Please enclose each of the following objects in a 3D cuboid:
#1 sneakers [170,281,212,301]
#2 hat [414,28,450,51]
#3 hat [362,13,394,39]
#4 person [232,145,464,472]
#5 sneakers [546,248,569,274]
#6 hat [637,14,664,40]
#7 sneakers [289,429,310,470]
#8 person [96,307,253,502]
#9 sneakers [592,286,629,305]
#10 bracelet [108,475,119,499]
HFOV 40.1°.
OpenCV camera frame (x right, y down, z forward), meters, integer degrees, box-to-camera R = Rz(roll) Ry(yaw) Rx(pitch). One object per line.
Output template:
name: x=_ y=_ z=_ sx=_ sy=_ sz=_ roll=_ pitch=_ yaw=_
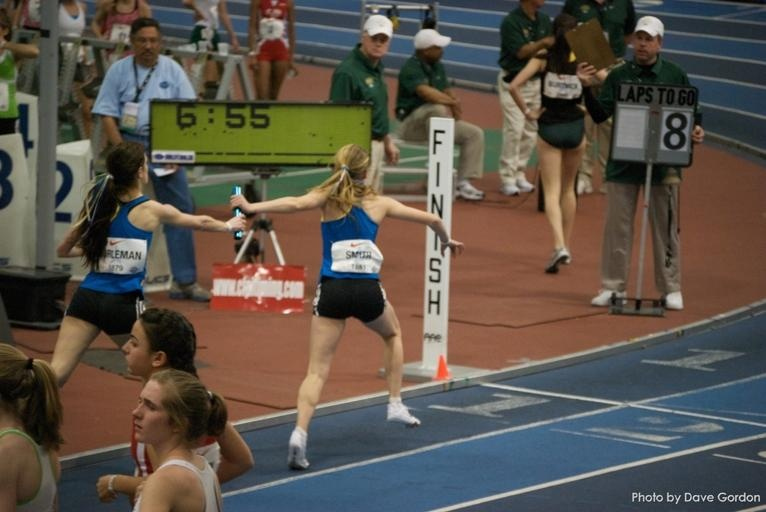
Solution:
sneakers: x=-2.200 y=0.407 z=11.932 sx=0.559 sy=0.246 sz=0.183 roll=0 pitch=8 yaw=1
hat: x=0.728 y=-3.227 z=15.704 sx=0.476 sy=0.321 sz=0.595 roll=8 pitch=12 yaw=3
hat: x=-0.086 y=-2.861 z=13.074 sx=0.353 sy=0.269 sz=0.342 roll=8 pitch=12 yaw=6
person: x=-0.295 y=0.364 z=8.668 sx=1.441 sy=2.490 sz=0.985 roll=-1 pitch=15 yaw=-36
sneakers: x=2.166 y=0.056 z=13.110 sx=0.163 sy=0.458 sz=0.220 roll=8 pitch=52 yaw=-15
hat: x=2.932 y=-2.521 z=11.495 sx=0.285 sy=0.205 sz=0.415 roll=16 pitch=-1 yaw=25
sneakers: x=-0.664 y=1.518 z=8.181 sx=0.134 sy=0.229 sz=0.350 roll=-1 pitch=-30 yaw=5
person: x=-1.512 y=1.090 z=7.432 sx=0.794 sy=0.428 sz=1.457 roll=7 pitch=32 yaw=-11
sneakers: x=2.562 y=0.484 z=11.919 sx=0.168 sy=0.167 sz=0.431 roll=2 pitch=-1 yaw=-24
bracelet: x=-1.669 y=1.425 z=6.479 sx=0.050 sy=0.125 sz=0.071 roll=5 pitch=12 yaw=-13
